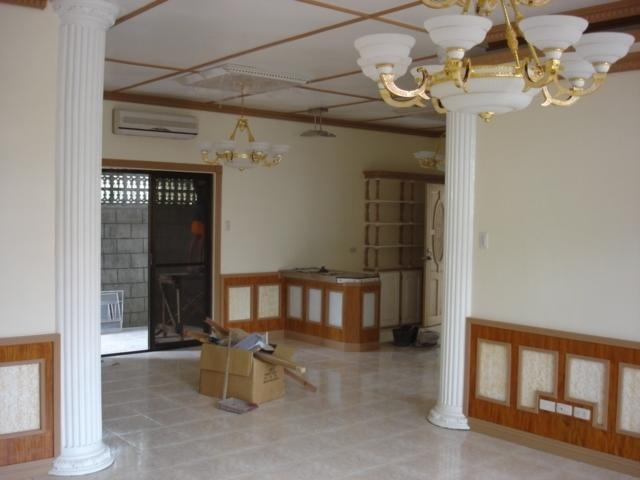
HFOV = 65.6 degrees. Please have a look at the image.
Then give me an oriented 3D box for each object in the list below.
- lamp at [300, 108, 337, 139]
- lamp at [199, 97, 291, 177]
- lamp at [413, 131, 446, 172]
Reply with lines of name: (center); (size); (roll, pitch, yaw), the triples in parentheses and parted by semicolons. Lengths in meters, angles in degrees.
lamp: (-0.027, -1.841, 7.776); (0.463, 0.439, 0.545); (11, 15, 34)
lamp: (-1.008, -1.247, 6.403); (1.162, 0.609, 1.101); (-1, 9, -16)
lamp: (1.687, -1.301, 7.152); (0.534, 0.542, 0.492); (12, 45, 2)
